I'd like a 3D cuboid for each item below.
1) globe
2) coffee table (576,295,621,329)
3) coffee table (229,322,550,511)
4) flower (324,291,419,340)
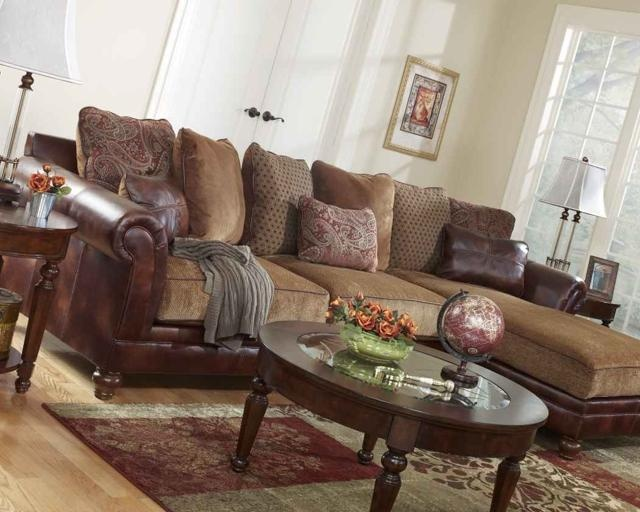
[{"bbox_3d":[0.534,0.300,1.836,0.246,0.301,0.205,10,3,-9],"label":"globe"},{"bbox_3d":[2.254,0.450,4.318,0.458,0.205,0.244,13,7,-7],"label":"coffee table"},{"bbox_3d":[0.325,0.602,1.739,0.854,0.414,0.855,27,6,35],"label":"coffee table"},{"bbox_3d":[0.211,0.255,1.767,0.228,0.092,0.223,19,-3,37],"label":"flower"}]
